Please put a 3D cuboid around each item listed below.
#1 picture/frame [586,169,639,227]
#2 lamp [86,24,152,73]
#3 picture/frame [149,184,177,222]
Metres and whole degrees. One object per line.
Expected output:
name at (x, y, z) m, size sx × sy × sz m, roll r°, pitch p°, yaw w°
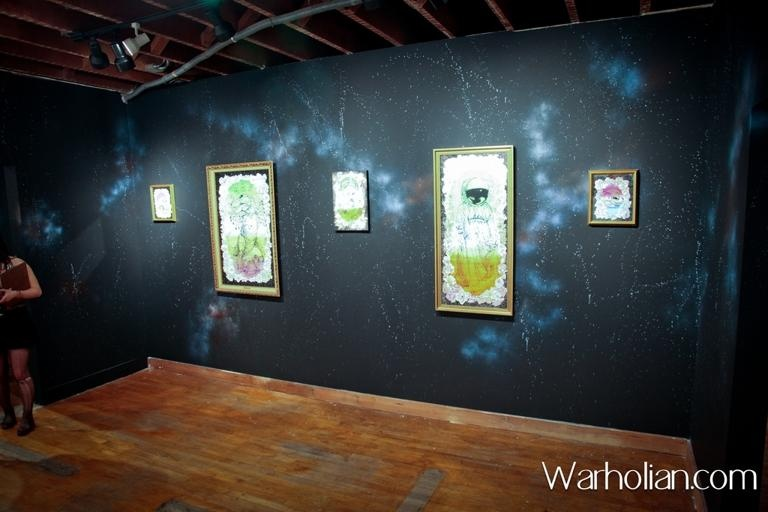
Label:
picture/frame at (2.067, -0.527, 4.642) m, size 0.518 × 0.626 × 0.049 m, roll 1°, pitch 3°, yaw 20°
lamp at (-2.580, -2.000, 4.989) m, size 0.534 × 0.458 × 0.184 m, roll -22°, pitch 61°, yaw -37°
picture/frame at (-2.696, -0.645, 6.347) m, size 0.365 × 0.439 × 0.056 m, roll 2°, pitch 7°, yaw 25°
